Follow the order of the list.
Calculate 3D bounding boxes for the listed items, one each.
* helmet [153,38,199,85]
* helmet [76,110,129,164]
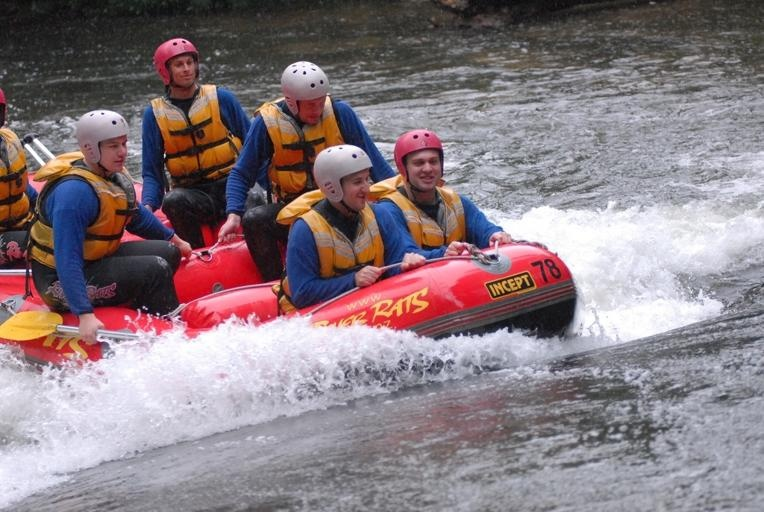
[{"bbox_3d":[-1.917,-1.824,8.484,0.408,0.424,0.308,-6,18,2],"label":"helmet"},{"bbox_3d":[-2.216,-0.997,7.304,0.512,0.338,0.344,0,13,6],"label":"helmet"}]
